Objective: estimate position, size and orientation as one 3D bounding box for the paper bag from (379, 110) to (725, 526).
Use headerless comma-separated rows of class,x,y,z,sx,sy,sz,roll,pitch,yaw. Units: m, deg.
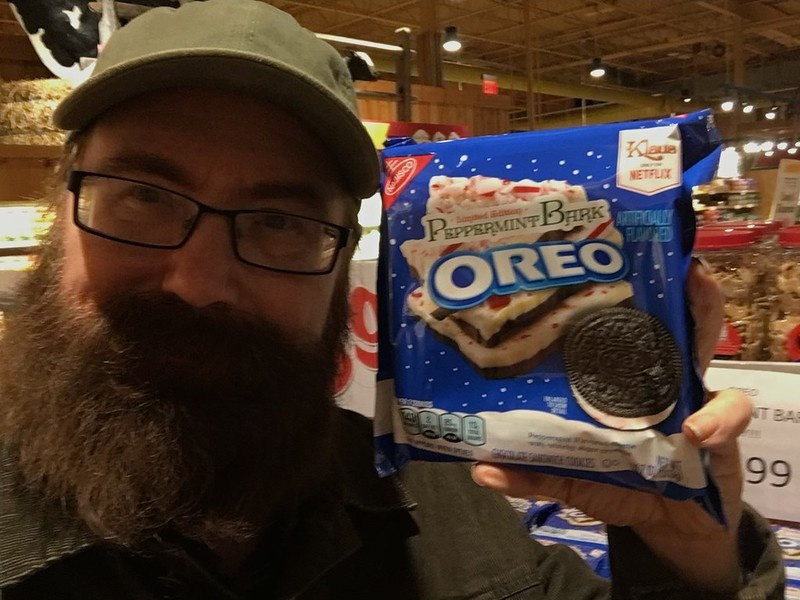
paper bag,0.246,0.026,1.151,0.586,0.680,0.147,0,7,13
